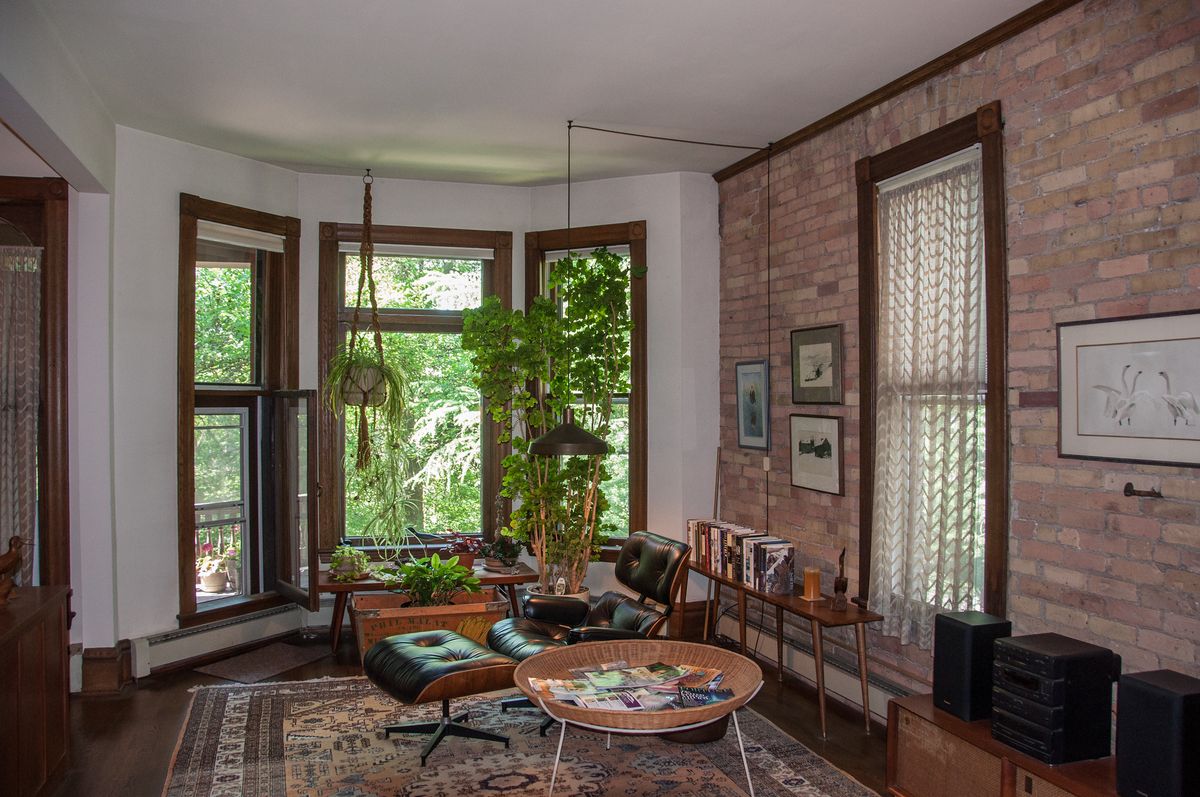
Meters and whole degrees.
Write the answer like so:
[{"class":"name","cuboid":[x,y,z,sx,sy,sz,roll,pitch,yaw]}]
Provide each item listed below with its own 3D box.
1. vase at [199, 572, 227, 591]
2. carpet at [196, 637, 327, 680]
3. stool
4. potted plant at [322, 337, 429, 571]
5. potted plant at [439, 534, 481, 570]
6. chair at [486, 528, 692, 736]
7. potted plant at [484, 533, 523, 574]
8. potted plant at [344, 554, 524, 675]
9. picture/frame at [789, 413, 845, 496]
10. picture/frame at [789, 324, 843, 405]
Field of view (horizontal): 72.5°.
[{"class":"vase","cuboid":[-2.974,1.396,6.271,0.136,0.097,0.136,-1,-6,9]},{"class":"carpet","cuboid":[-2.429,1.920,6.017,0.610,0.063,0.820,5,10,34]},{"class":"stool","cuboid":[-0.939,1.764,4.930,0.775,0.536,1.049,2,-4,-29]},{"class":"potted plant","cuboid":[-1.788,0.384,6.436,0.691,1.895,0.757,-4,10,-18]},{"class":"potted plant","cuboid":[-1.119,1.216,6.546,0.246,0.225,0.251,-4,-11,43]},{"class":"chair","cuboid":[-0.090,1.479,5.308,1.175,1.121,1.007,4,-3,-17]},{"class":"potted plant","cuboid":[-0.780,1.235,6.511,0.272,0.258,0.096,-5,-25,13]},{"class":"potted plant","cuboid":[-1.218,1.654,6.073,1.128,0.464,0.715,-1,5,-13]},{"class":"picture/frame","cuboid":[1.508,0.381,5.636,0.060,0.564,0.566,5,-5,-23]},{"class":"picture/frame","cuboid":[1.503,-0.238,5.638,0.065,0.639,0.550,1,2,-28]}]
